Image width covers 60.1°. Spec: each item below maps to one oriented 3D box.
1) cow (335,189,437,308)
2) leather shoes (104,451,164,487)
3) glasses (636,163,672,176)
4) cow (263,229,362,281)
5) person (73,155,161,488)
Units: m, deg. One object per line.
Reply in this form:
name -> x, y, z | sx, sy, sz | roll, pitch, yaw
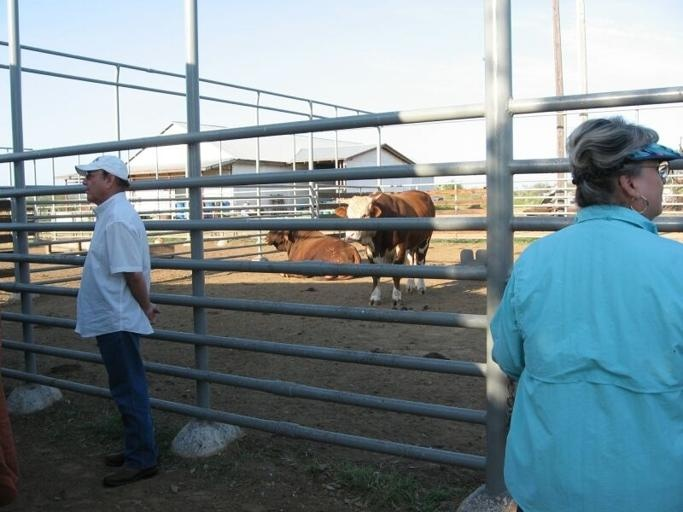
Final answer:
cow -> 0.757, -0.169, 8.608 | 1.209, 1.482, 3.197 | -1, 9, 8
leather shoes -> -1.175, 1.149, 3.290 | 0.289, 0.119, 0.317 | -5, 9, -17
glasses -> 0.962, -0.265, 1.797 | 0.079, 0.019, 0.073 | -1, 2, 32
cow -> -0.670, -0.060, 9.715 | 2.133, 0.853, 0.698 | 8, 6, 41
person -> -1.255, 0.327, 3.264 | 0.433, 1.753, 0.578 | -5, 10, -10
